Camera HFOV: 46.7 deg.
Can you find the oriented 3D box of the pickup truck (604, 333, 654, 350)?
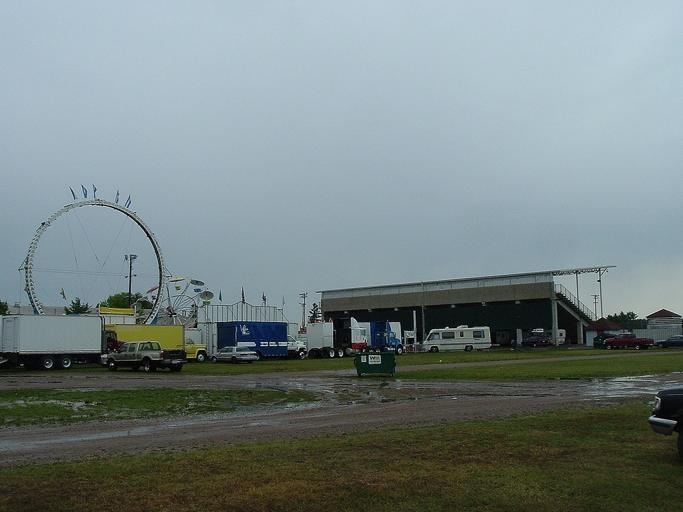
[{"bbox_3d":[24.235,7.307,67.055,3.113,1.124,1.736,0,-3,22],"label":"pickup truck"}]

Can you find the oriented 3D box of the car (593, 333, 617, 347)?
[{"bbox_3d":[23.676,7.574,70.732,2.406,1.428,1.607,4,-8,-17],"label":"car"}]

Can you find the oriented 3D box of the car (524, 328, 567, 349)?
[{"bbox_3d":[20.833,8.097,81.839,3.118,1.433,2.388,4,-7,-22],"label":"car"}]
